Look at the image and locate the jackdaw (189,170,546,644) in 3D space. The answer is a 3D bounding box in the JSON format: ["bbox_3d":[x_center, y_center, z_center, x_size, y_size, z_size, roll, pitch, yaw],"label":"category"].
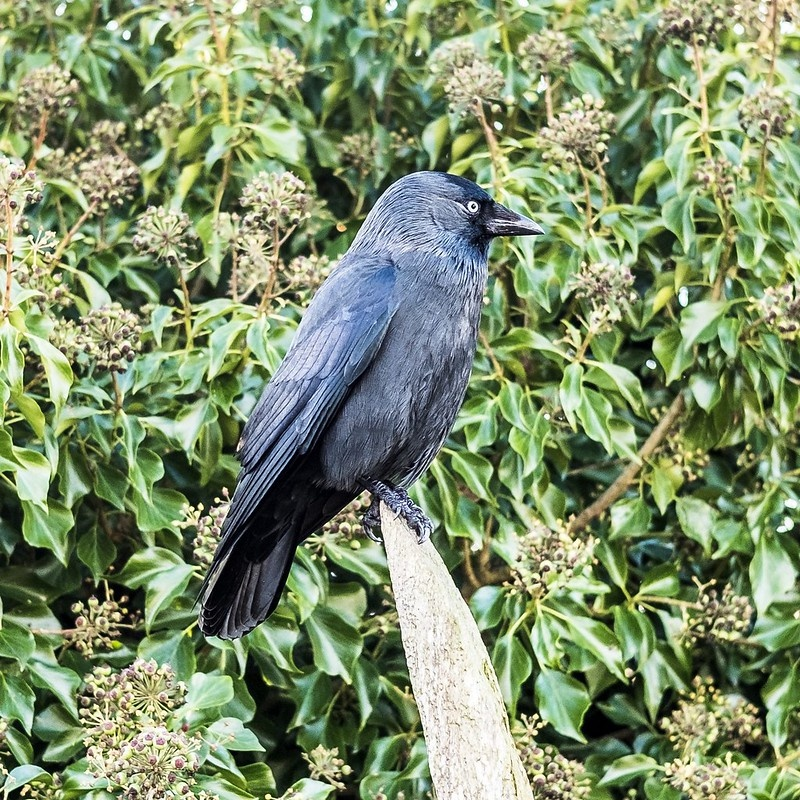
[{"bbox_3d":[-0.143,0.004,4.617,0.949,1.397,0.560,-7,-27,18],"label":"jackdaw"}]
